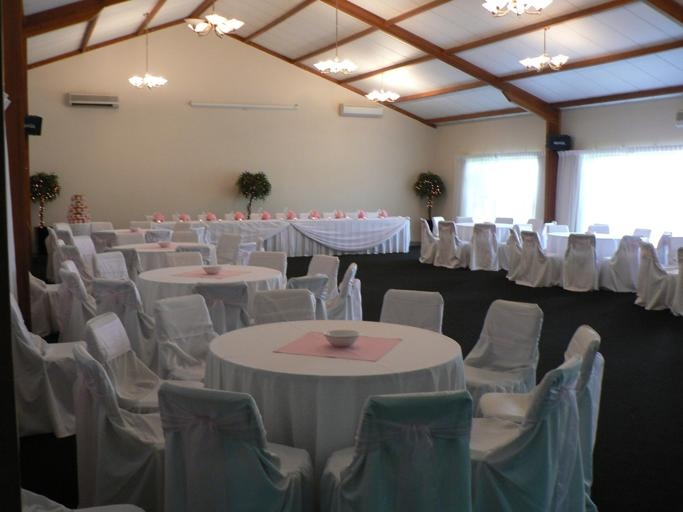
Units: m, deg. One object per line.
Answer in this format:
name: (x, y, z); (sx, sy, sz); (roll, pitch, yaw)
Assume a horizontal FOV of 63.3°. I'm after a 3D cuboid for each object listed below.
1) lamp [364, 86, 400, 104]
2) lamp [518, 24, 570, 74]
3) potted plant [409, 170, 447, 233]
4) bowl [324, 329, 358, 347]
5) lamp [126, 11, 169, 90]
lamp: (0.943, -3.755, 12.906); (0.664, 0.400, 0.737); (3, 5, 13)
lamp: (3.221, -3.325, 8.747); (0.631, 0.712, 0.617); (-11, 13, -35)
potted plant: (2.490, -1.761, 15.642); (0.889, 1.253, 0.961); (9, 21, 29)
bowl: (-0.002, 0.464, 3.121); (0.180, 0.079, 0.147); (0, 7, -2)
lamp: (-4.093, -4.260, 11.693); (0.821, 1.518, 1.969); (-2, 7, -20)
